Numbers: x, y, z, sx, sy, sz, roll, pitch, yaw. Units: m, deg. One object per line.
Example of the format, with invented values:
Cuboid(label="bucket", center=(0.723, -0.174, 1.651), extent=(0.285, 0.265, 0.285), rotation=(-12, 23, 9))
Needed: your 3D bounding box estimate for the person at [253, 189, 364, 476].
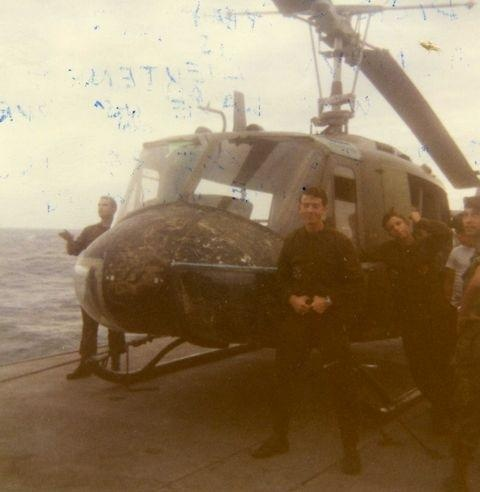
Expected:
Cuboid(label="person", center=(0.534, 0.534, 3.798), extent=(0.714, 1.894, 0.560), rotation=(3, 6, 11))

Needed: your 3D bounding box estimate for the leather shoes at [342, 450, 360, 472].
Cuboid(label="leather shoes", center=(0.745, 1.452, 3.612), extent=(0.105, 0.032, 0.134), rotation=(4, 41, 7))
